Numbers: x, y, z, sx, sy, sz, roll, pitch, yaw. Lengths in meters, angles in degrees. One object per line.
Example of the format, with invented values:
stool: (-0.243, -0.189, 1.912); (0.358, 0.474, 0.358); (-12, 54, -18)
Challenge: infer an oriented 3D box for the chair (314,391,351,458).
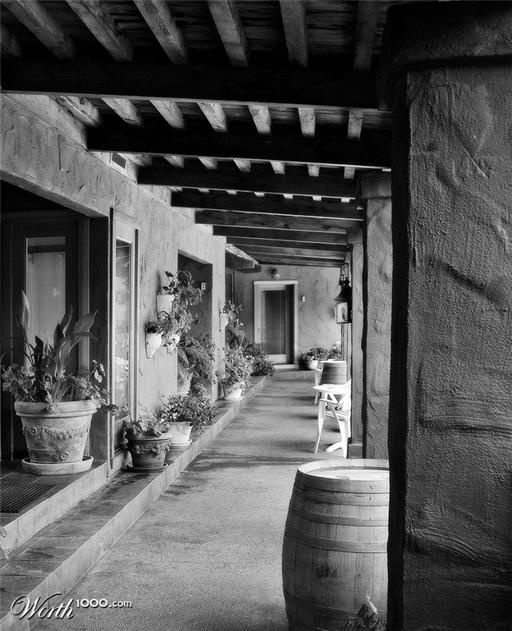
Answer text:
chair: (0.886, 1.110, 6.340); (0.444, 0.890, 0.628); (-1, 0, 11)

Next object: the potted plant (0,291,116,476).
potted plant: (-1.352, 0.451, 3.952); (0.772, 1.154, 0.915); (1, -1, -16)

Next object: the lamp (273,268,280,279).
lamp: (0.596, -1.218, 16.315); (0.148, 0.272, 0.228); (0, -5, -4)

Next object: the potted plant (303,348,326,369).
potted plant: (1.542, 1.109, 15.654); (0.488, 0.505, 0.566); (2, 2, 18)
